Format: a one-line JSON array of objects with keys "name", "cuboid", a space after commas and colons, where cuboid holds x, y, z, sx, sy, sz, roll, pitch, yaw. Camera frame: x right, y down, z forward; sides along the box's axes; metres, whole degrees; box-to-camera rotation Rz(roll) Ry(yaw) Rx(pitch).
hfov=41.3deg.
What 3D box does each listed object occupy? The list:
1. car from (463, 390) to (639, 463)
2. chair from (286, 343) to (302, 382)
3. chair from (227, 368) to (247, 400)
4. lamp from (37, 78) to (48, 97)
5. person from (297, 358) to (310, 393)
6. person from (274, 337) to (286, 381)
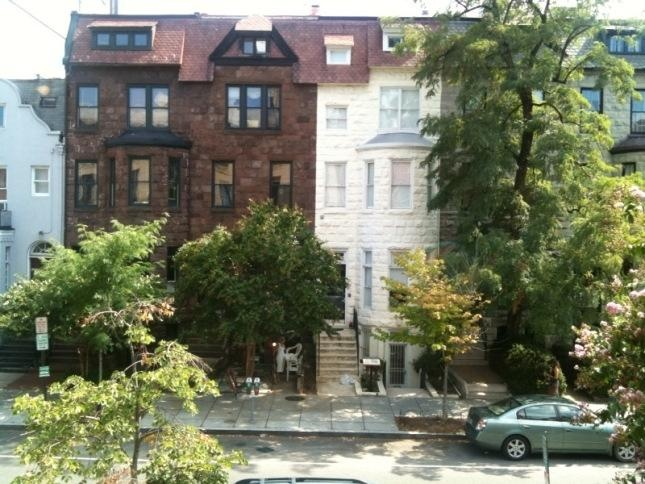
[{"name": "car", "cuboid": [7.415, 6.368, 28.873, 5.933, 1.762, 2.442, -2, 2, -2]}, {"name": "chair", "cuboid": [-1.186, 4.872, 36.299, 0.790, 1.032, 0.655, -7, 6, -9]}, {"name": "chair", "cuboid": [-3.403, 5.611, 34.364, 0.741, 1.079, 1.123, 3, -7, -27]}, {"name": "lamp", "cuboid": [-13.077, -7.259, 40.291, 0.632, 0.820, 0.457, 2, 14, 2]}, {"name": "person", "cuboid": [-0.725, 5.351, 34.653, 0.597, 1.230, 1.371, 1, -2, -1]}, {"name": "person", "cuboid": [-1.722, 4.779, 36.076, 0.466, 1.850, 1.170, 1, 14, -3]}]
